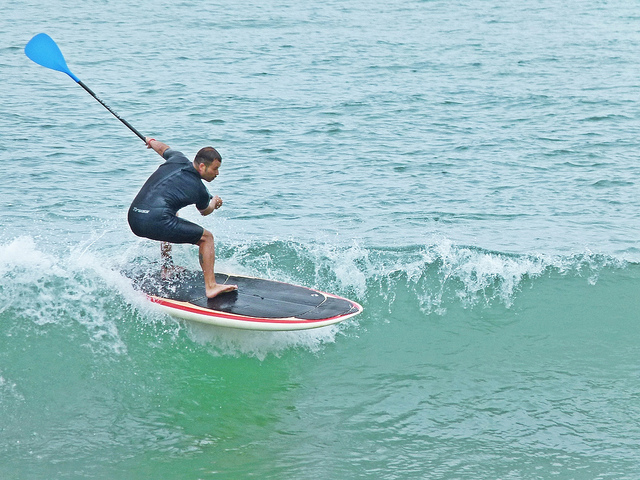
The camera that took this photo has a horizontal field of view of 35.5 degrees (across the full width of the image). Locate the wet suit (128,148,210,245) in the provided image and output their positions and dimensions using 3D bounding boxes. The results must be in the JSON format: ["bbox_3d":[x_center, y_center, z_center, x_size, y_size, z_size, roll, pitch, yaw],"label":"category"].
[{"bbox_3d":[-2.701,-0.713,17.757,1.419,1.568,0.578,-1,17,-9],"label":"wet suit"}]

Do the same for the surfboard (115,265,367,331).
[{"bbox_3d":[-1.363,1.103,18.139,5.266,0.352,1.179,6,21,14],"label":"surfboard"}]
